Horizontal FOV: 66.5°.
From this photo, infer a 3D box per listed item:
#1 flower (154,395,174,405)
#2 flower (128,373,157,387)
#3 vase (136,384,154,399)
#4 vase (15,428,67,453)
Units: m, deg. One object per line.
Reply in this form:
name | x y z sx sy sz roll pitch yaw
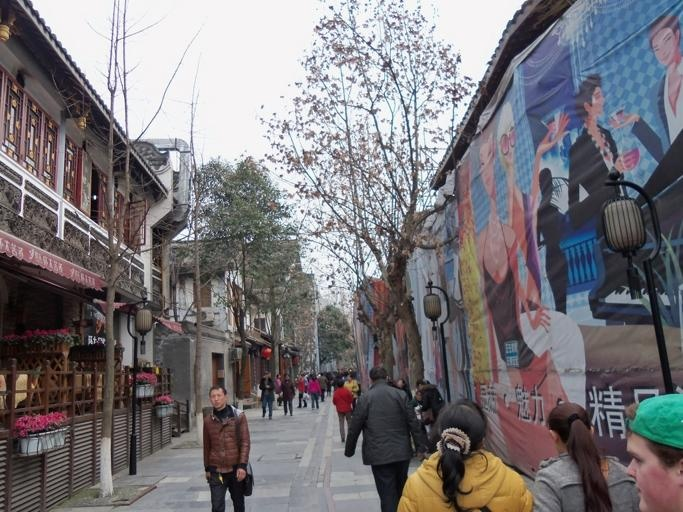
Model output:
flower | -5.743 4.600 16.669 0.322 0.228 0.298 -4 -7 32
flower | -5.612 3.433 14.655 0.395 0.282 0.431 0 -10 17
vase | -5.528 3.734 14.422 0.460 0.225 0.415 -10 -13 23
vase | -4.962 3.093 8.706 0.269 0.454 0.919 -6 -20 8
